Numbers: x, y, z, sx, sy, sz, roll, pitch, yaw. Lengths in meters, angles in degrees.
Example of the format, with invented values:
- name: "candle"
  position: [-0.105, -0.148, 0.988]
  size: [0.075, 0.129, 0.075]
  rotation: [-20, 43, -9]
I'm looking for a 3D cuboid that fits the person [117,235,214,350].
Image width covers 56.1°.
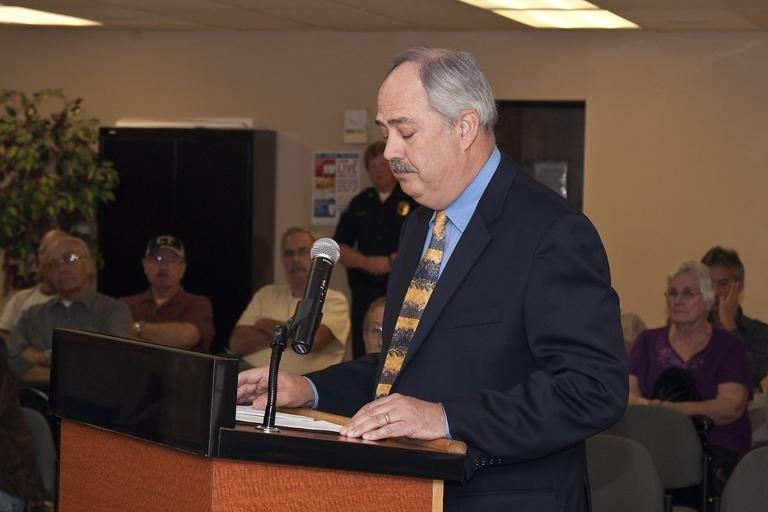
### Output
- name: "person"
  position: [-1.507, 0.276, 5.003]
  size: [0.656, 0.870, 0.496]
  rotation: [-1, -17, -1]

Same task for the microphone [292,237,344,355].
- name: "microphone"
  position: [-0.174, 0.106, 1.903]
  size: [0.112, 0.291, 0.245]
  rotation: [-2, 7, 5]

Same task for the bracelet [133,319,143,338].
- name: "bracelet"
  position: [-1.726, 0.512, 5.057]
  size: [0.068, 0.094, 0.037]
  rotation: [-5, -12, 2]

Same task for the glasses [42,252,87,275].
- name: "glasses"
  position: [-2.311, 0.046, 5.234]
  size: [0.170, 0.055, 0.180]
  rotation: [-8, -22, -10]

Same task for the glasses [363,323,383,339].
- name: "glasses"
  position: [-0.066, 0.420, 4.066]
  size: [0.079, 0.057, 0.106]
  rotation: [1, 2, 1]

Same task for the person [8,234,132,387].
- name: "person"
  position: [-1.892, 0.303, 4.236]
  size: [0.680, 0.940, 0.522]
  rotation: [-13, -20, 3]

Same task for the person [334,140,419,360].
- name: "person"
  position: [-0.057, 0.178, 5.362]
  size: [0.662, 1.952, 0.476]
  rotation: [2, 9, 7]

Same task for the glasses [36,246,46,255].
- name: "glasses"
  position: [-2.484, -0.030, 5.240]
  size: [0.047, 0.058, 0.064]
  rotation: [-1, 4, 4]
